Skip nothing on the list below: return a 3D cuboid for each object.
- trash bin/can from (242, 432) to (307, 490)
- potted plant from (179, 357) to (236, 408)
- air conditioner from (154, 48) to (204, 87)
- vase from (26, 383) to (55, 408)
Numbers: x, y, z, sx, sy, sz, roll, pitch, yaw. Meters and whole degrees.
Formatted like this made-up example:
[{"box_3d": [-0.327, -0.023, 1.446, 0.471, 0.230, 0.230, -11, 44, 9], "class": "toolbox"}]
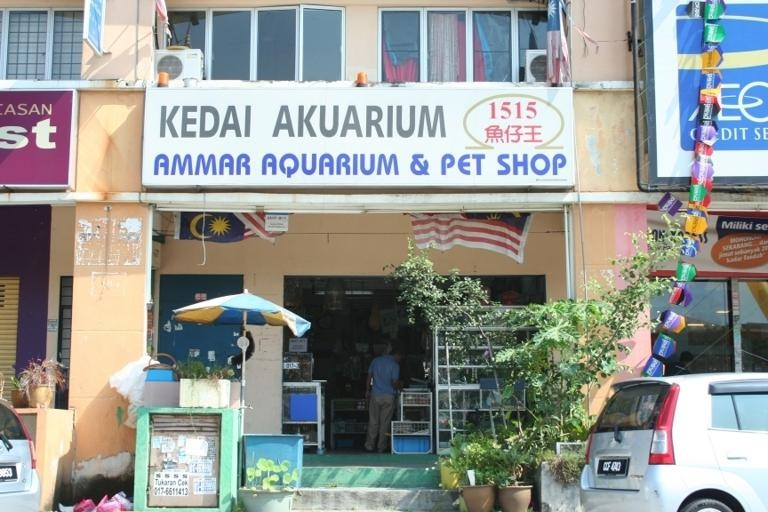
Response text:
[{"box_3d": [-1.823, 3.440, 19.589, 0.881, 0.817, 0.898, 0, -11, 0], "class": "trash bin/can"}, {"box_3d": [-2.976, 2.161, 19.797, 0.752, 0.687, 0.767, 2, -11, -7], "class": "potted plant"}, {"box_3d": [-3.661, -3.413, 21.103, 1.120, 0.819, 0.660, -1, -8, -3], "class": "air conditioner"}, {"box_3d": [-5.746, 2.357, 19.809, 0.392, 0.400, 0.395, -1, -5, 44], "class": "vase"}]
